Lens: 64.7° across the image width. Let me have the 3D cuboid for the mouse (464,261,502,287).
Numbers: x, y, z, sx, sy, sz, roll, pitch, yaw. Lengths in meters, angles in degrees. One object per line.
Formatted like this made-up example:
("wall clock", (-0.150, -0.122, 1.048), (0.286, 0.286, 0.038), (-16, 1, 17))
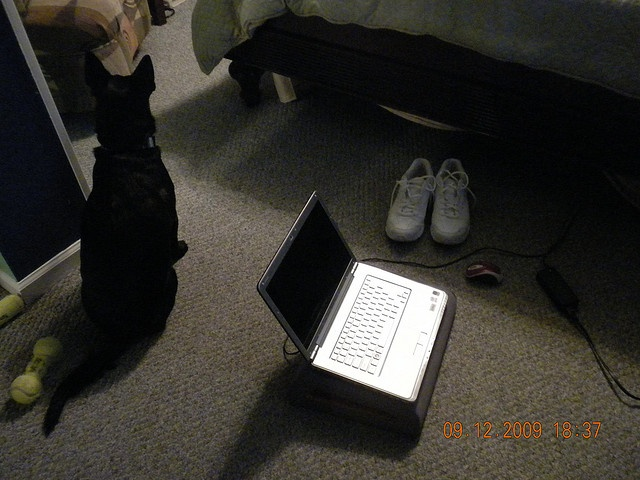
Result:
("mouse", (0.484, 0.103, 1.493), (0.105, 0.038, 0.062), (6, 53, 24))

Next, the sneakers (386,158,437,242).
("sneakers", (0.306, -0.129, 1.662), (0.131, 0.119, 0.322), (12, 46, 23))

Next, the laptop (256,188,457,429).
("laptop", (0.125, 0.169, 1.293), (0.437, 0.431, 0.419), (17, 47, 15))

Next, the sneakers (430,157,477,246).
("sneakers", (0.426, -0.139, 1.626), (0.115, 0.136, 0.328), (-1, 50, 15))
